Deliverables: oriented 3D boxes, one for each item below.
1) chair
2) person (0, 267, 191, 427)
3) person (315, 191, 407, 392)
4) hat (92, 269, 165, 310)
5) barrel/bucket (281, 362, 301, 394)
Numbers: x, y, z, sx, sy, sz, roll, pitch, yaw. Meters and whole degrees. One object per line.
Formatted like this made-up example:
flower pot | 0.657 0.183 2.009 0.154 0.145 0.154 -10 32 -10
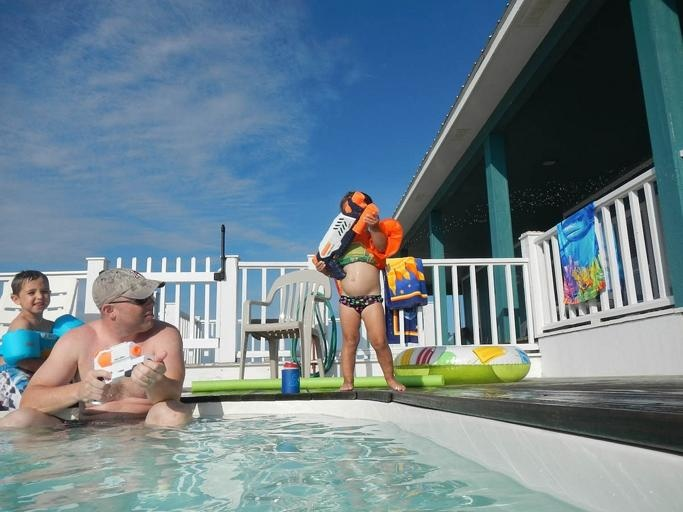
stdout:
chair | -0.609 0.669 4.761 0.932 1.123 0.926 6 -13 -35
person | -1.374 0.546 2.562 0.704 0.799 1.023 8 -21 -33
person | 0.113 0.227 3.205 0.627 1.415 0.349 -3 -7 8
hat | -1.199 0.151 2.491 0.386 0.194 0.247 -10 12 7
barrel/bucket | -0.401 0.903 3.427 0.142 0.212 0.146 -1 -8 0
